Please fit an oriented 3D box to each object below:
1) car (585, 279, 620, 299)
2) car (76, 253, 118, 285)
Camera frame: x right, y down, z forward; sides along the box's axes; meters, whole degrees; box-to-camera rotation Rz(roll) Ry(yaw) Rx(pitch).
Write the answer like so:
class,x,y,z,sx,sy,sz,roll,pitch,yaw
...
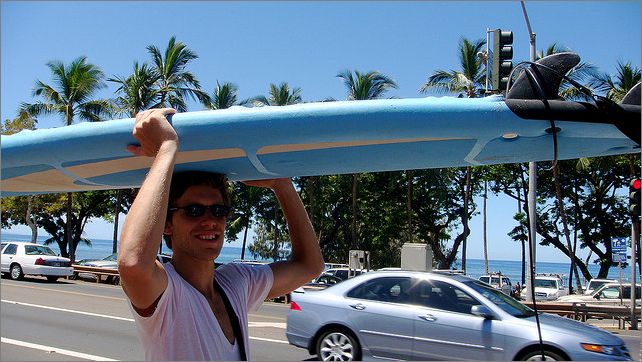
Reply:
class,x,y,z,sx,sy,sz,roll,pitch,yaw
car,13.389,5.011,22.505,1.094,0.902,1.799,-2,-9,28
car,-11.172,4.384,23.570,1.880,1.447,3.478,6,-7,-37
